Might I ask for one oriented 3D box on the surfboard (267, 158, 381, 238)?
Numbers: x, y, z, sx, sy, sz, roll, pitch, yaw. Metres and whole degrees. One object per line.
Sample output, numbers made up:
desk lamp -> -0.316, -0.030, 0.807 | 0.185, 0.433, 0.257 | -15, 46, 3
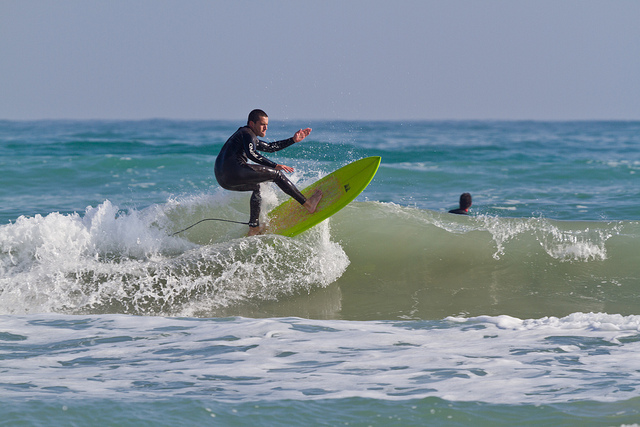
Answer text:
surfboard -> 0.047, -0.249, 13.891 | 2.586, 0.597, 0.215 | -36, 6, -34

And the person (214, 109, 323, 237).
person -> -0.956, -0.656, 13.650 | 1.546, 2.088, 0.529 | 0, 6, -5
